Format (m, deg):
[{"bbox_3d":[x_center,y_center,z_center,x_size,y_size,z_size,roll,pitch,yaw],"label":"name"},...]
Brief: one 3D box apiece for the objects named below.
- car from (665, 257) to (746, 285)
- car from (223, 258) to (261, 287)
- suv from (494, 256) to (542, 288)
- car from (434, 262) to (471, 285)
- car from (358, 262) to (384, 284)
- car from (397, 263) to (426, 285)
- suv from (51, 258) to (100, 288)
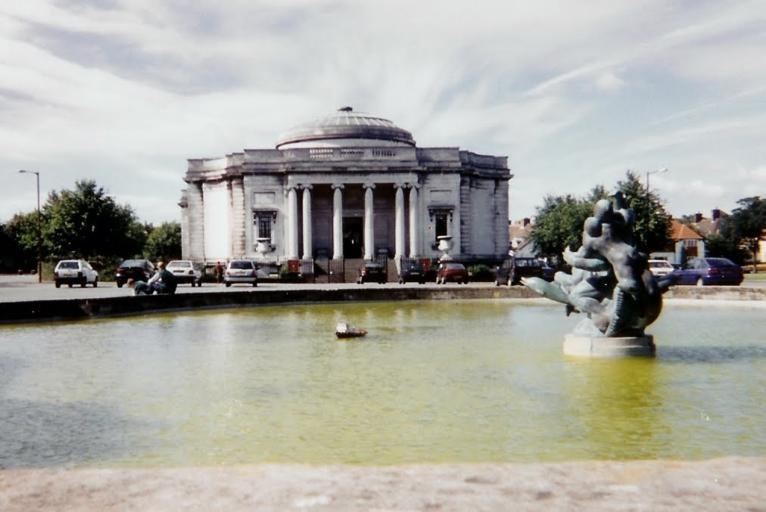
[{"bbox_3d":[16.193,0.812,38.855,1.734,1.427,3.103,-2,6,-17],"label":"car"},{"bbox_3d":[-8.295,1.033,45.284,1.776,1.496,2.272,-1,6,-7],"label":"car"},{"bbox_3d":[7.657,0.772,43.957,1.697,1.292,3.180,-1,3,-4],"label":"suv"},{"bbox_3d":[4.162,1.097,47.957,1.715,1.133,2.249,-2,6,-8],"label":"car"},{"bbox_3d":[-0.749,1.188,49.944,1.644,1.052,1.146,-1,6,0],"label":"car"},{"bbox_3d":[1.783,1.041,49.287,1.030,1.023,1.782,0,-4,-7],"label":"car"},{"bbox_3d":[-18.431,1.069,46.846,1.692,1.390,2.672,0,6,-3],"label":"suv"}]
